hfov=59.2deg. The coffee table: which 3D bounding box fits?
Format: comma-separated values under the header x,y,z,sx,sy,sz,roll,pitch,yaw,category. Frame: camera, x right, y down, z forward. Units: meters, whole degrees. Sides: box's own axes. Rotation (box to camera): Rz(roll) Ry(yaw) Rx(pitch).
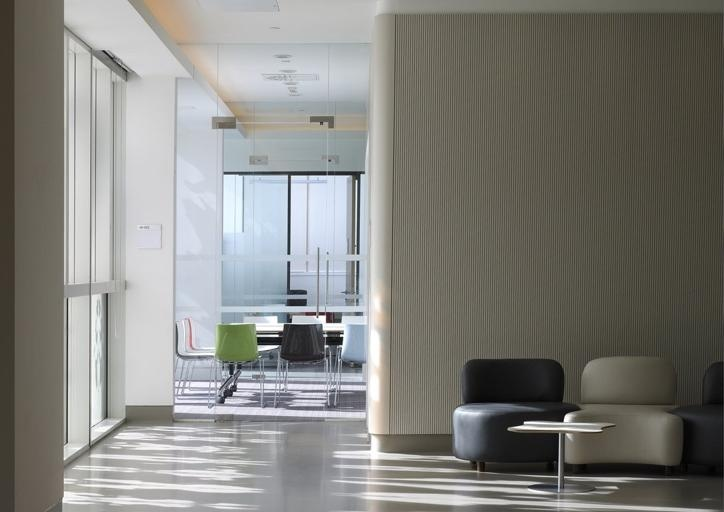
x,y,z,sx,sy,sz,roll,pitch,yaw,category
1.904,1.869,6.244,0.773,0.493,0.788,-2,-1,10,coffee table
